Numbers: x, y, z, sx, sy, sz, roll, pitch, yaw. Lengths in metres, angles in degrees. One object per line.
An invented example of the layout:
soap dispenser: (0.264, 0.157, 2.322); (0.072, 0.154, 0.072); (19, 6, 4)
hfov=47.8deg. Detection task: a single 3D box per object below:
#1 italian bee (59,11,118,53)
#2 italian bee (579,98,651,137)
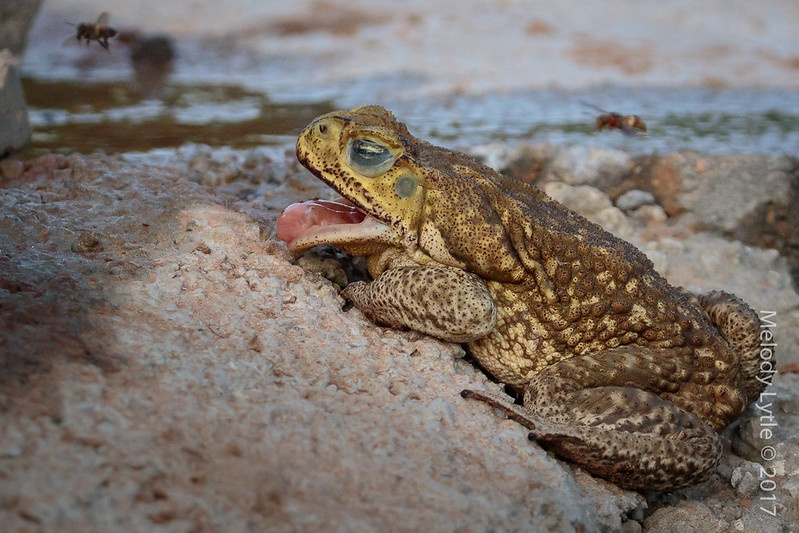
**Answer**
italian bee: (-2.121, -1.614, 6.193); (0.477, 0.287, 0.147); (14, 25, 8)
italian bee: (1.549, -1.070, 6.591); (0.523, 0.181, 0.335); (10, 8, -1)
